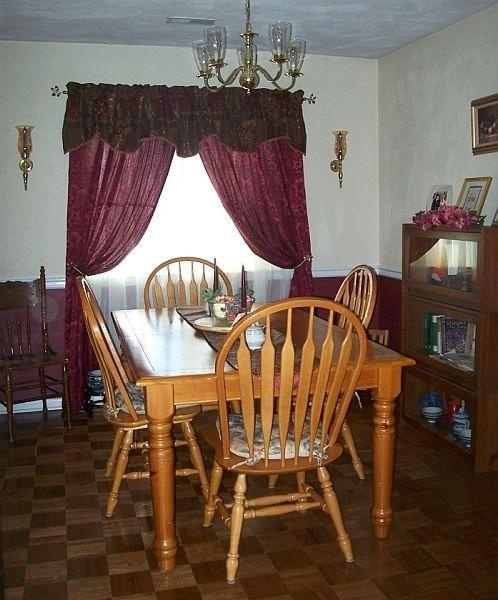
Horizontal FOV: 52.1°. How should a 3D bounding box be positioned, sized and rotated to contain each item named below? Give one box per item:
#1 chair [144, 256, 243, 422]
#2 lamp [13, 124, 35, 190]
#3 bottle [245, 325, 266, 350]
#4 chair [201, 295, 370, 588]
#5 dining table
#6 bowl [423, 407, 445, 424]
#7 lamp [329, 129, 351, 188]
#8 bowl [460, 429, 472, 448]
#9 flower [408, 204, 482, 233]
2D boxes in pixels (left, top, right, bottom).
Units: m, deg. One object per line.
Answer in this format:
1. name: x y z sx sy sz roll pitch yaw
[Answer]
1. chair: -0.382 0.016 3.219 0.502 0.613 0.514 -3 -4 36
2. lamp: -1.509 -0.968 3.456 0.103 0.410 0.150 -2 3 -24
3. bottle: 0.024 0.139 1.923 0.071 0.092 0.089 -2 13 -9
4. chair: 0.097 0.424 1.738 0.595 0.901 0.611 5 10 29
5. dining table: 0.003 0.109 1.922 0.864 0.653 1.453 -2 10 -12
6. bowl: 1.044 0.640 2.888 0.093 0.057 0.091 -3 5 0
7. lamp: 0.719 -1.138 4.077 0.148 0.430 0.246 -1 3 10
8. bowl: 1.088 0.692 2.570 0.033 0.083 0.097 -1 3 7
9. flower: 1.037 -0.413 2.629 0.202 0.150 0.534 -2 3 -12
